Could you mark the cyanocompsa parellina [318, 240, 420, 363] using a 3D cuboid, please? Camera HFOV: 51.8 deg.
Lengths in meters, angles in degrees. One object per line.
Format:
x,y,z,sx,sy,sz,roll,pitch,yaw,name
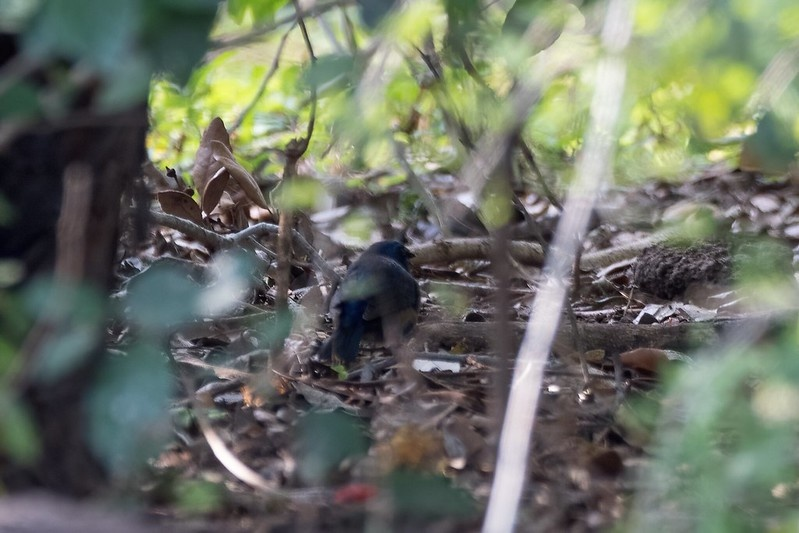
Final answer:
-0.148,0.149,4.002,0.402,0.527,0.773,14,19,12,cyanocompsa parellina
